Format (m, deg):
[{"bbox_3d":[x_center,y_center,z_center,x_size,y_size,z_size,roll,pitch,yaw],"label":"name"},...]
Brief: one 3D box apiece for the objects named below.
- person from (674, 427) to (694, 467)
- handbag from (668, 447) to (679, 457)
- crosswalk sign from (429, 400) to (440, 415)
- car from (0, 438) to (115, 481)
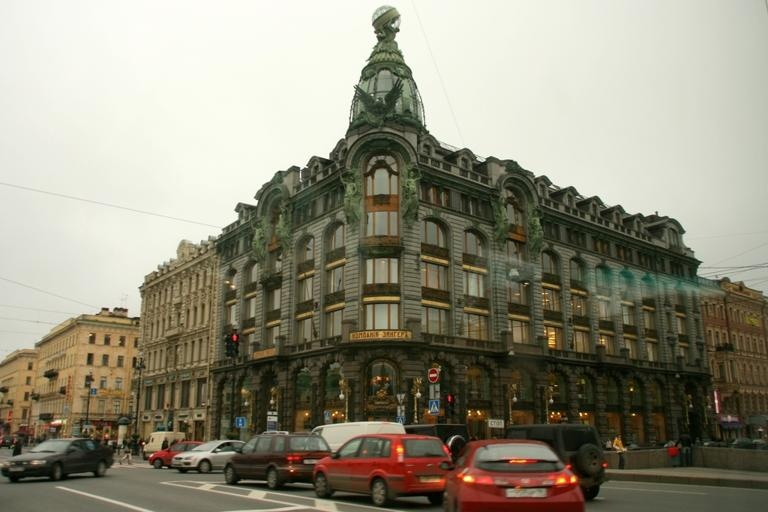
[{"bbox_3d":[20.138,13.075,46.908,0.802,2.187,1.200,-6,-26,13],"label":"person"},{"bbox_3d":[19.102,13.009,46.395,0.729,0.627,0.360,10,-13,1],"label":"handbag"},{"bbox_3d":[3.234,9.727,45.285,0.592,0.950,1.012,1,-24,-1],"label":"crosswalk sign"},{"bbox_3d":[-17.163,10.831,37.255,4.974,2.553,1.317,20,-31,-37],"label":"car"}]
